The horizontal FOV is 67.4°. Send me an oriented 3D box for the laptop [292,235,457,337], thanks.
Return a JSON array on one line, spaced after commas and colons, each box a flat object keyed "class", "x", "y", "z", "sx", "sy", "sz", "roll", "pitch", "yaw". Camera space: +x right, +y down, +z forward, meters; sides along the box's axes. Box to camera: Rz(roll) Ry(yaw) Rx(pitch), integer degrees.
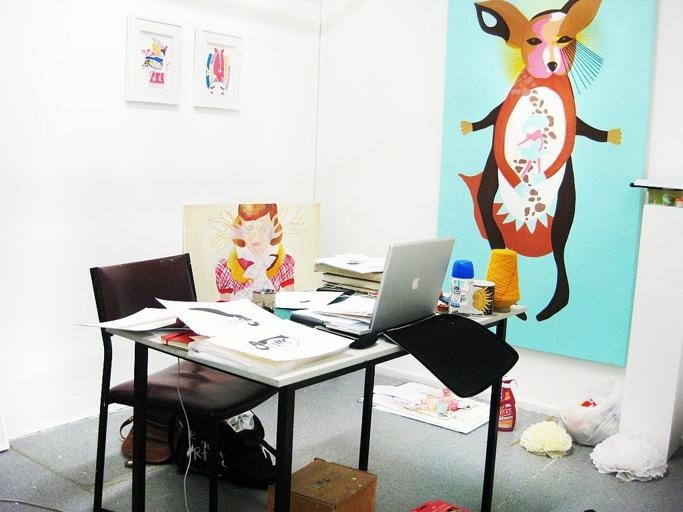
[{"class": "laptop", "x": 0.167, "y": 0.025, "z": 1.911, "sx": 0.410, "sy": 0.277, "sz": 0.442, "roll": 8, "pitch": 10, "yaw": 40}]
